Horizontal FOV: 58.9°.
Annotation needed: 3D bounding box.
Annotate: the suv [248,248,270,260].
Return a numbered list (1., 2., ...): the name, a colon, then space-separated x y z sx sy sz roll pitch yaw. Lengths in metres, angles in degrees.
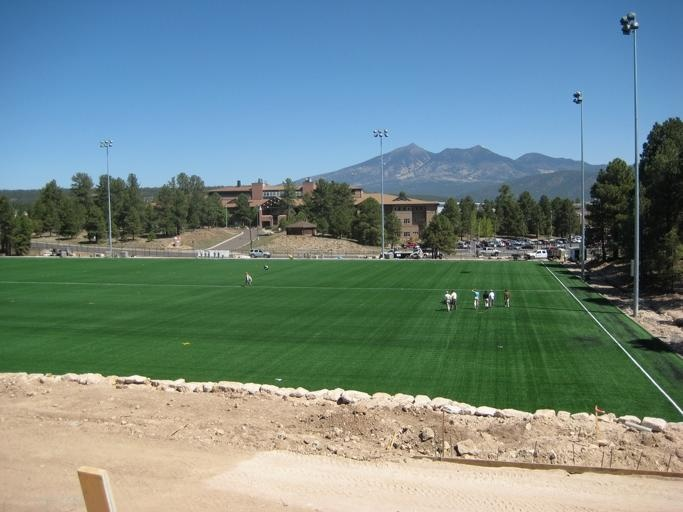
1. suv: -14.488 -0.301 108.293 3.586 1.557 2.117 -2 7 11
